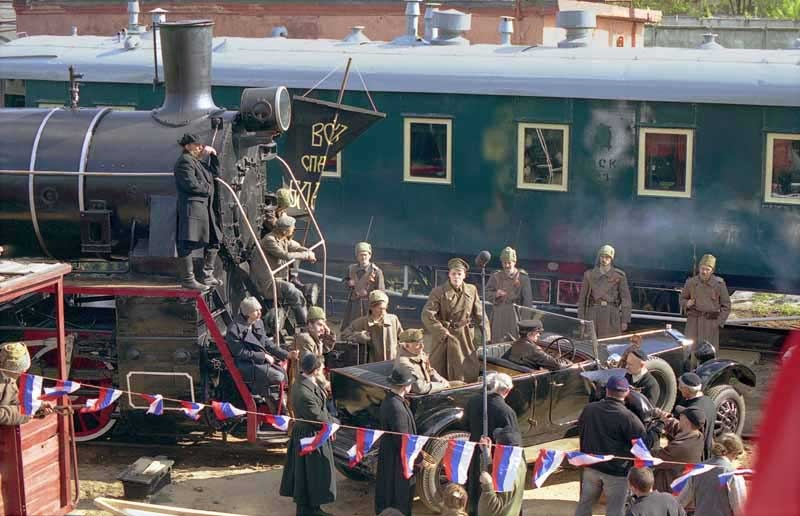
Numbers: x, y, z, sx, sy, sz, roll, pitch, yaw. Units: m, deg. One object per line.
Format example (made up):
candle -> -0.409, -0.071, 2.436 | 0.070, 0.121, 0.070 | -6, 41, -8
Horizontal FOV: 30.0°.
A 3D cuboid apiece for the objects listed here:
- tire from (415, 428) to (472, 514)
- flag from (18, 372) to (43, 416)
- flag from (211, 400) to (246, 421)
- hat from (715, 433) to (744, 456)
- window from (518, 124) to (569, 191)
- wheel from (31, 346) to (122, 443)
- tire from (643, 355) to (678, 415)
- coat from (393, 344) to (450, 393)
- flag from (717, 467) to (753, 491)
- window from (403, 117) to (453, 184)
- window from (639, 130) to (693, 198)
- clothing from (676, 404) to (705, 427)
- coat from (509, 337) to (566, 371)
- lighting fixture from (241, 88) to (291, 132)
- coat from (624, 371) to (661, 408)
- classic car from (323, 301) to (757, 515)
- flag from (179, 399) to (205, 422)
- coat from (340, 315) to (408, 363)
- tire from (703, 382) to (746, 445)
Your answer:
tire -> 0.517, 2.955, 20.425 | 0.312, 0.975, 1.030 | 7, 14, 33
flag -> -4.917, 1.877, 19.949 | 0.066, 0.621, 0.650 | -1, -1, 32
flag -> -2.410, 2.206, 21.158 | 0.415, 0.152, 0.343 | 7, -35, 23
hat -> 4.326, 2.481, 19.585 | 0.364, 0.313, 0.271 | -1, 9, -36
window -> 2.457, -1.710, 25.005 | 1.198, 1.436, 0.061 | 1, 1, 18
wheel -> -4.568, 1.903, 21.073 | 1.437, 1.585, 0.430 | 7, 2, -10
tire -> 3.896, 1.895, 21.904 | 0.758, 0.704, 0.226 | -10, -1, 38
coat -> 0.319, 1.559, 20.760 | 0.769, 0.601, 1.017 | 0, 8, 0
flag -> 4.450, 2.861, 19.317 | 0.499, 0.230, 0.363 | -6, 10, -38
window -> 0.538, -1.884, 25.608 | 1.208, 1.369, 0.155 | 2, 8, 14
window -> 4.399, -1.557, 24.368 | 1.182, 1.315, 0.143 | 2, 1, 20
clothing -> 3.940, 2.157, 20.097 | 0.316, 0.161, 0.208 | 43, 34, 25
coat -> 1.959, 1.429, 21.349 | 0.442, 0.328, 0.740 | -5, 16, -40
lighting fixture -> -1.924, -2.151, 22.114 | 0.692, 0.654, 0.688 | -3, -4, 12
coat -> 3.352, 1.858, 20.688 | 0.624, 0.540, 0.322 | 1, 3, 25
classic car -> 2.025, 1.922, 22.001 | 5.935, 2.285, 2.759 | -6, 11, -19
flag -> -2.934, 2.197, 21.274 | 0.313, 0.266, 0.110 | 9, -11, -16
coat -> -0.359, 1.258, 22.190 | 0.784, 0.570, 0.224 | -1, 1, -7
tire -> 4.614, 2.261, 21.278 | 0.987, 0.920, 0.331 | 3, -3, -39
